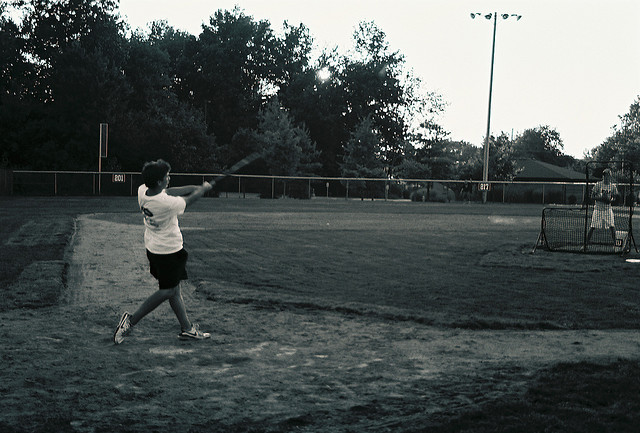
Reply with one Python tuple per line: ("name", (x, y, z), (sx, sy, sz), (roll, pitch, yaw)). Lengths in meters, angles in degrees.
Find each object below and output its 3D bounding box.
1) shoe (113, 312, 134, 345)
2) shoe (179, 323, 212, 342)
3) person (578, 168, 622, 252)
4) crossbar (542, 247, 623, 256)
("shoe", (-2.655, 1.495, 8.069), (0.247, 0.395, 0.211), (-2, 7, -29))
("shoe", (-1.741, 1.622, 8.283), (0.482, 0.240, 0.178), (1, -1, -14))
("person", (7.945, -0.226, 17.270), (1.222, 0.973, 2.889), (-13, 35, 33))
("crossbar", (7.177, 0.950, 16.321), (1.964, 0.147, 0.451), (5, 7, 22))
